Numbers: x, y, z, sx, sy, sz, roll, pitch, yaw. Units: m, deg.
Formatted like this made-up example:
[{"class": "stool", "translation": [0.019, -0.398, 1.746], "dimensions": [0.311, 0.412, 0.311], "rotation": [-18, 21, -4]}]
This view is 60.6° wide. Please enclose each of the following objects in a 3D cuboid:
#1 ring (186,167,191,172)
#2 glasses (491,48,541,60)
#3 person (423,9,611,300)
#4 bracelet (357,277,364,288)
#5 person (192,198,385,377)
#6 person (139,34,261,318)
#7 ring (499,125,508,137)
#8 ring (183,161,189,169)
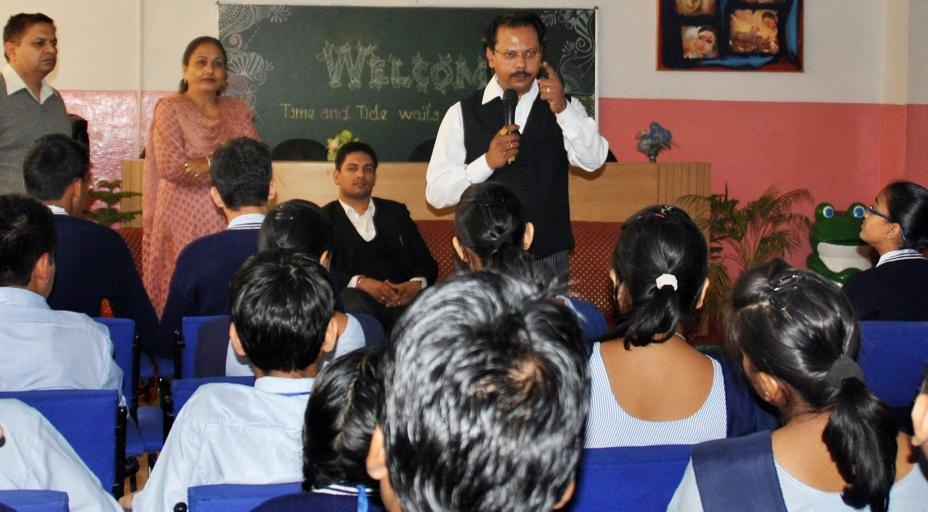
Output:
[{"class": "ring", "translation": [-1.764, -0.556, 5.125], "dimensions": [0.030, 0.031, 0.008], "rotation": [2, -2, 10]}, {"class": "glasses", "translation": [0.298, -1.139, 4.468], "dimensions": [0.286, 0.074, 0.105], "rotation": [1, 7, -1]}, {"class": "person", "translation": [0.334, -0.387, 4.916], "dimensions": [1.023, 2.072, 0.684], "rotation": [-6, 15, -4]}, {"class": "bracelet", "translation": [-0.730, 0.189, 5.620], "dimensions": [0.036, 0.052, 0.019], "rotation": [2, -19, 2]}, {"class": "person", "translation": [-0.923, 0.169, 4.030], "dimensions": [0.847, 0.813, 0.441], "rotation": [-5, 26, -12]}, {"class": "person", "translation": [-1.786, -0.385, 5.544], "dimensions": [0.802, 2.177, 0.571], "rotation": [-8, 27, -35]}, {"class": "ring", "translation": [0.236, -0.712, 4.516], "dimensions": [0.048, 0.022, 0.061], "rotation": [-6, -15, -32]}, {"class": "ring", "translation": [-1.788, -0.589, 5.150], "dimensions": [0.045, 0.044, 0.011], "rotation": [-2, -5, 42]}]
